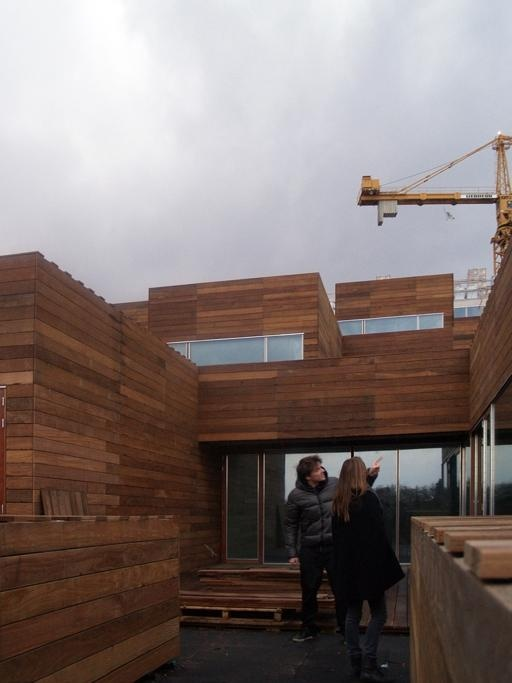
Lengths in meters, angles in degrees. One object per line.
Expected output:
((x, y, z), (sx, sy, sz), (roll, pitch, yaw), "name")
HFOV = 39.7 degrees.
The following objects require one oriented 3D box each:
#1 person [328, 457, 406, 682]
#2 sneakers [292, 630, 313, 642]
((0.758, 1.589, 4.915), (0.408, 1.409, 0.709), (3, 9, -22), "person")
((0.428, 2.611, 6.296), (0.209, 0.090, 0.071), (6, -11, -12), "sneakers")
